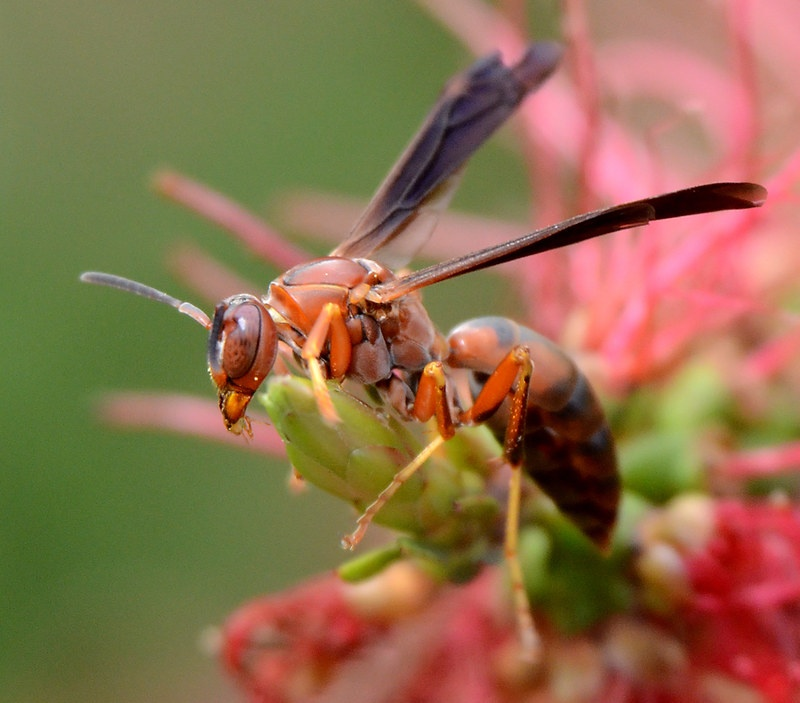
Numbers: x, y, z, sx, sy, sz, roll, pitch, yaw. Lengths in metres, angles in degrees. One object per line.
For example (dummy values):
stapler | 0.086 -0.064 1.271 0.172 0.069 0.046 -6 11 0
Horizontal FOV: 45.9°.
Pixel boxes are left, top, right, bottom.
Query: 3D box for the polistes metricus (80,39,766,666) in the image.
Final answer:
polistes metricus | 0.047 -0.001 0.736 0.433 0.416 0.429 13 18 25
